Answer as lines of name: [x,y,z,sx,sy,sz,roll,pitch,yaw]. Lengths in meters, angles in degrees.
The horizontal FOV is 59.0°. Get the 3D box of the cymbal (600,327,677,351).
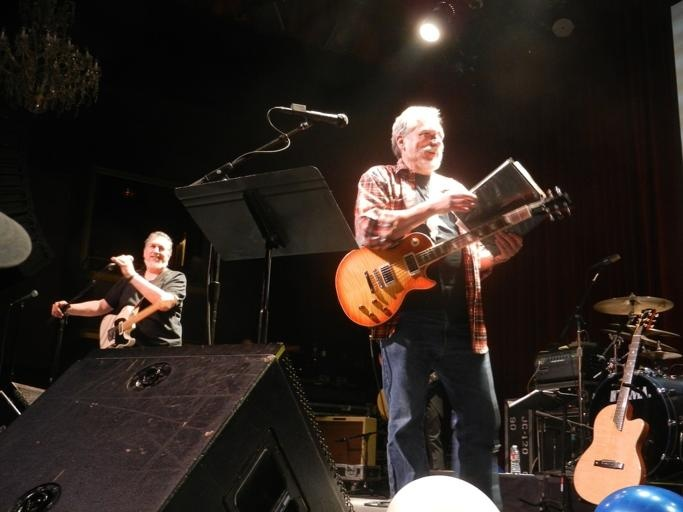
cymbal: [2.741,0.738,5.400,0.417,0.119,0.419,13,-11,-26]

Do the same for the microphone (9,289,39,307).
microphone: [-3.140,0.413,5.951,0.382,0.106,0.131,-10,10,14]

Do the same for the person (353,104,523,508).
person: [0.517,0.177,3.371,0.883,2.363,0.477,0,-12,1]

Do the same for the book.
book: [0.841,-0.407,3.341,0.477,0.120,0.496,-24,-53,24]

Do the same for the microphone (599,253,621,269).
microphone: [2.749,0.055,6.178,0.055,0.056,0.210,43,-50,-15]
